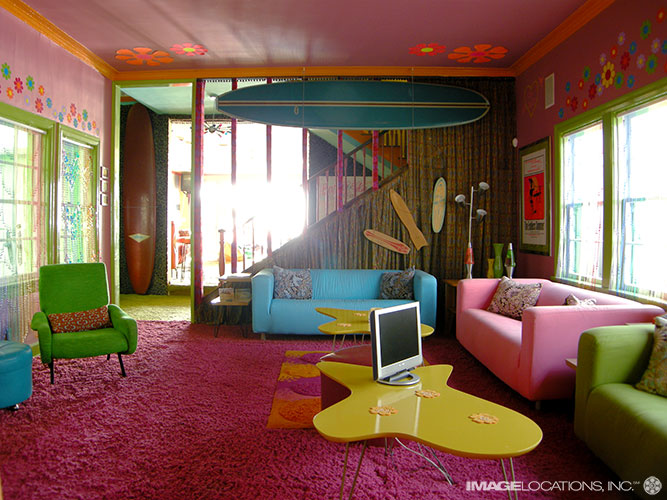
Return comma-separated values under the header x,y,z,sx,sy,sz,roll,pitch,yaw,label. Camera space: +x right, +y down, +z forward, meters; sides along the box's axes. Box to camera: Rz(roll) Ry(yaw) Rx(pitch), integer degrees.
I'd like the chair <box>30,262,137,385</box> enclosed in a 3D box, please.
x,y,z,sx,sy,sz,roll,pitch,yaw,label
-2.467,0.609,5.273,1.149,1.386,1.094,-1,-1,-33,chair

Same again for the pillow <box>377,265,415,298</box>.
x,y,z,sx,sy,sz,roll,pitch,yaw,label
0.830,0.442,6.395,0.382,0.384,0.118,-3,-22,16,pillow

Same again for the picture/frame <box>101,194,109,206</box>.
x,y,z,sx,sy,sz,roll,pitch,yaw,label
-3.167,-0.704,6.794,0.029,0.119,0.125,-1,4,11,picture/frame

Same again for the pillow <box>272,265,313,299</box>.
x,y,z,sx,sy,sz,roll,pitch,yaw,label
-0.540,0.447,6.463,0.406,0.405,0.126,0,-20,-4,pillow
